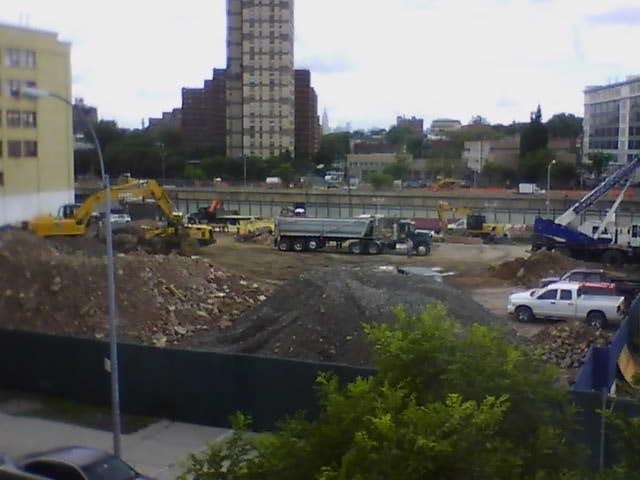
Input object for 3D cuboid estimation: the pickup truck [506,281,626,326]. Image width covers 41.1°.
[{"bbox_3d":[10.098,2.582,34.772,3.612,1.443,1.870,2,7,28],"label":"pickup truck"}]
